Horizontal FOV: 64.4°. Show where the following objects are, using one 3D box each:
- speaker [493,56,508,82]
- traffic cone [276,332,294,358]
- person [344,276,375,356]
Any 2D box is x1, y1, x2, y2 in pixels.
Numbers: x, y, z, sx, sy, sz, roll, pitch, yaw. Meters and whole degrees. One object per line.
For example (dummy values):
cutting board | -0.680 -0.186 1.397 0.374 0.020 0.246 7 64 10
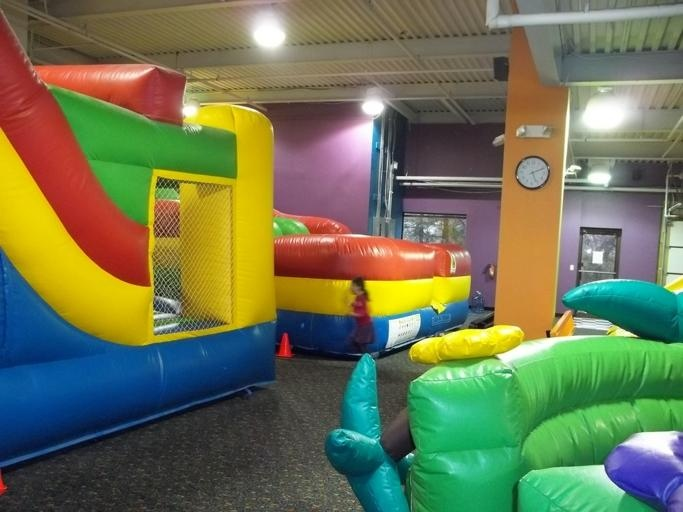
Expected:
speaker | 2.036 -2.393 6.877 0.163 0.399 0.470 4 5 18
traffic cone | -0.598 0.945 5.822 0.166 0.237 0.308 2 5 -6
person | 0.210 0.603 5.420 0.244 0.784 0.270 3 5 0
